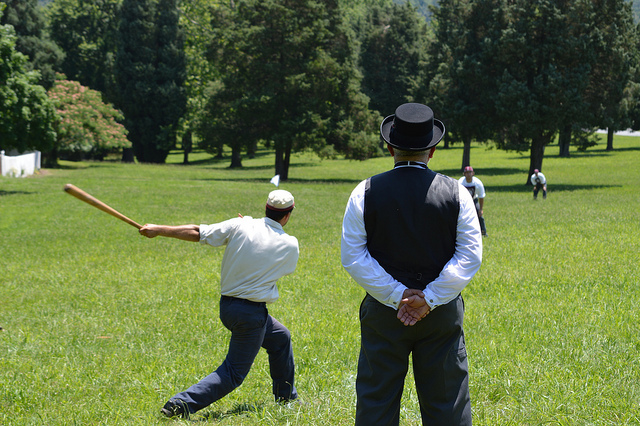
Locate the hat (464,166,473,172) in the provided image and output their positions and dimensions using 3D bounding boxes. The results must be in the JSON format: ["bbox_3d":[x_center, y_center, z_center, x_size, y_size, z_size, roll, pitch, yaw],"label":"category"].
[{"bbox_3d":[9.011,-2.628,51.385,0.484,0.398,0.520,5,12,12],"label":"hat"}]

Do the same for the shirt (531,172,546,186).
[{"bbox_3d":[16.909,-2.685,65.526,1.299,1.242,0.630,-1,9,20],"label":"shirt"}]

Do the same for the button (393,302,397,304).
[{"bbox_3d":[3.509,4.248,39.843,0.149,0.062,0.007,2,7,2],"label":"button"}]

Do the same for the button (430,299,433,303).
[{"bbox_3d":[5.228,4.167,39.804,0.134,0.146,0.034,6,-4,23],"label":"button"}]

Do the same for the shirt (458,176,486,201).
[{"bbox_3d":[8.841,-1.468,49.289,1.934,1.688,0.778,8,-32,7],"label":"shirt"}]
